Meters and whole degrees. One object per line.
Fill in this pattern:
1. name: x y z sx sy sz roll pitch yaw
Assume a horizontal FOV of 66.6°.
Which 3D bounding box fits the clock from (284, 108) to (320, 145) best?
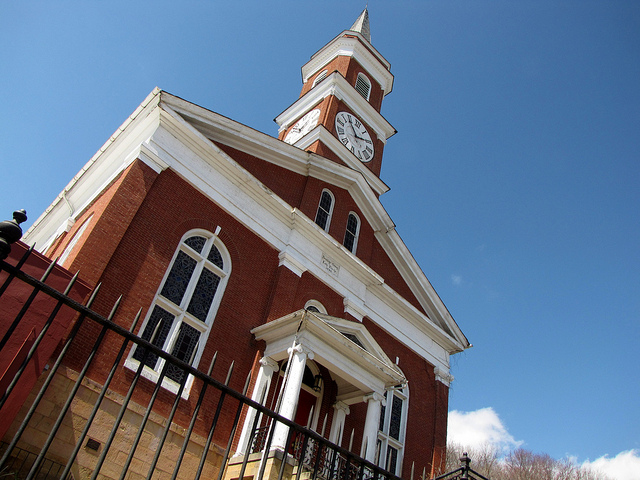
1. clock: -0.911 -5.829 24.943 2.129 2.380 0.429 -22 -44 32
